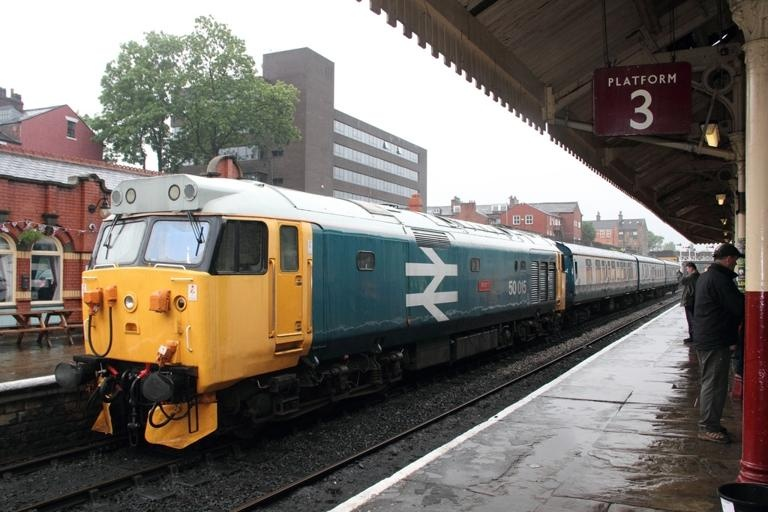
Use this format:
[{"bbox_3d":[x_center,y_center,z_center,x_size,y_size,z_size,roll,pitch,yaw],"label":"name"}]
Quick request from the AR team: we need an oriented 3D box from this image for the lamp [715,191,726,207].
[{"bbox_3d":[12.613,-2.169,21.107,0.519,0.750,0.174,-1,6,1],"label":"lamp"}]

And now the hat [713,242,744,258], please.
[{"bbox_3d":[5.294,-0.111,8.649,0.397,0.206,0.240,-3,3,-11],"label":"hat"}]

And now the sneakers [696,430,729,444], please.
[{"bbox_3d":[5.115,2.779,8.768,0.433,0.200,0.168,-6,-3,35],"label":"sneakers"}]

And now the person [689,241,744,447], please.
[{"bbox_3d":[5.152,1.313,8.649,0.684,3.006,0.462,-3,2,30],"label":"person"}]

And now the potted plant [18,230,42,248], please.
[{"bbox_3d":[-10.314,-0.499,16.380,0.555,0.656,0.394,-6,2,-44],"label":"potted plant"}]
